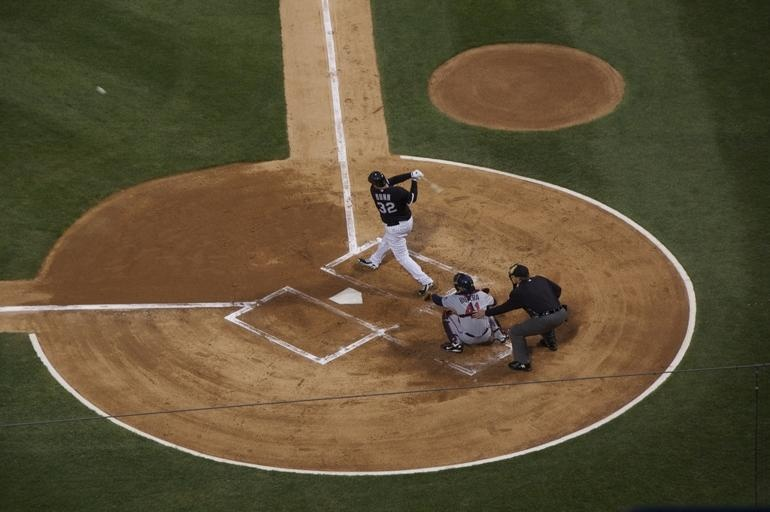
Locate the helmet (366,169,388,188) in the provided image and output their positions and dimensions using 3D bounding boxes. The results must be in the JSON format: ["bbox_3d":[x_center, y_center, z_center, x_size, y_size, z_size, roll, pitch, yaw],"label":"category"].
[{"bbox_3d":[-0.179,-1.916,36.780,0.685,0.511,0.348,-7,82,8],"label":"helmet"}]

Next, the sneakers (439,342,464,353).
[{"bbox_3d":[1.612,2.266,35.708,0.590,0.200,0.192,2,119,12],"label":"sneakers"}]

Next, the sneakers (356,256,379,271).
[{"bbox_3d":[-0.436,0.220,37.746,0.694,0.232,0.256,19,90,5],"label":"sneakers"}]

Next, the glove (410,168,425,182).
[{"bbox_3d":[0.805,-2.015,36.754,0.206,0.477,0.294,-38,73,37],"label":"glove"}]

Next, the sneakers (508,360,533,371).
[{"bbox_3d":[3.252,2.690,35.332,0.592,0.215,0.175,7,70,10],"label":"sneakers"}]
